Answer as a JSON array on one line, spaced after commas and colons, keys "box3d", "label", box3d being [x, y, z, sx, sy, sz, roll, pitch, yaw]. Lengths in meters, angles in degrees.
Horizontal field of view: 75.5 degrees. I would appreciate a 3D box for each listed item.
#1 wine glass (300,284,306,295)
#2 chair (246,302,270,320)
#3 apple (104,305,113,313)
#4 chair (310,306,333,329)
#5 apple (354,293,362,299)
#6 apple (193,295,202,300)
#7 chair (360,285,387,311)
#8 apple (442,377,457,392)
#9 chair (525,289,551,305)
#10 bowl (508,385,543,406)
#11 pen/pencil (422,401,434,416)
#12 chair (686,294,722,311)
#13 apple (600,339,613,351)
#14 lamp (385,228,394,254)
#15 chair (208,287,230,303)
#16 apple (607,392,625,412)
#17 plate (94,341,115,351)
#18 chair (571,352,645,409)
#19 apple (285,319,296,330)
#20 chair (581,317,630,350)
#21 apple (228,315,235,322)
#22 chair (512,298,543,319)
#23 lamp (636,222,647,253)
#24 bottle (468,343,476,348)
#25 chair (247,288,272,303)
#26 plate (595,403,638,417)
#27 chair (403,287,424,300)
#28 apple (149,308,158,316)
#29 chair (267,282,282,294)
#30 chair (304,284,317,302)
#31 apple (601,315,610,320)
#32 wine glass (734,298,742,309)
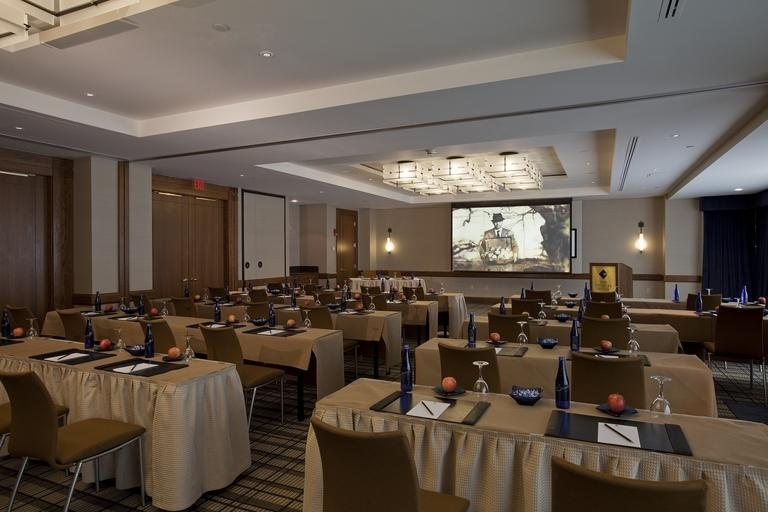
[{"box3d": [-1.906, 0.795, 11.635, 0.150, 0.246, 0.153, -6, -5, 44], "label": "wine glass"}, {"box3d": [-2.000, 0.856, 7.825, 0.279, 0.312, 0.281, 0, 4, -9], "label": "chair"}, {"box3d": [-4.387, 0.847, 7.895, 0.093, 0.118, 0.095, -18, -28, 10], "label": "apple"}, {"box3d": [-0.910, 0.873, 7.126, 0.267, 0.452, 0.323, 1, 2, 14], "label": "chair"}, {"box3d": [-0.570, 0.858, 10.565, 0.137, 0.078, 0.140, -1, 0, 31], "label": "apple"}, {"box3d": [-3.778, 0.832, 10.035, 0.128, 0.079, 0.130, 0, -4, 26], "label": "apple"}, {"box3d": [-0.191, 0.783, 9.188, 0.328, 0.585, 0.399, 3, 5, 37], "label": "chair"}, {"box3d": [0.565, 1.104, 4.294, 0.109, 0.108, 0.114, -4, 2, 16], "label": "apple"}, {"box3d": [2.797, 0.733, 9.032, 0.274, 0.405, 0.319, 1, 1, 39], "label": "chair"}, {"box3d": [1.174, 1.153, 4.097, 0.194, 0.072, 0.172, -1, 3, 16], "label": "bowl"}, {"box3d": [0.350, 1.232, 4.008, 0.029, 0.028, 0.271, -1, 6, -14], "label": "pen/pencil"}, {"box3d": [5.573, 0.802, 8.672, 0.488, 0.496, 0.566, 3, 0, 35], "label": "chair"}, {"box3d": [2.421, 0.973, 5.415, 0.123, 0.115, 0.125, 6, -22, -37], "label": "apple"}, {"box3d": [0.206, -0.559, 18.017, 0.366, 0.914, 0.090, -1, 0, 41], "label": "lamp"}, {"box3d": [-3.224, 0.768, 9.672, 0.257, 0.299, 0.223, -2, -3, 35], "label": "chair"}, {"box3d": [1.855, 1.155, 3.968, 0.134, 0.172, 0.135, -6, -4, 41], "label": "apple"}, {"box3d": [-3.090, 0.995, 5.476, 0.150, 0.080, 0.150, -1, -6, -22], "label": "plate"}, {"box3d": [2.111, 1.115, 4.754, 0.456, 0.672, 0.608, 0, -2, 31], "label": "chair"}, {"box3d": [-1.229, 0.906, 6.594, 0.103, 0.087, 0.137, -13, -2, 26], "label": "apple"}, {"box3d": [2.687, 0.894, 6.074, 0.391, 0.577, 0.467, 1, -2, 28], "label": "chair"}, {"box3d": [-2.129, 0.869, 6.901, 0.101, 0.081, 0.103, 0, 1, -1], "label": "apple"}, {"box3d": [2.222, 0.780, 7.753, 0.307, 0.453, 0.358, 3, 2, 40], "label": "chair"}, {"box3d": [7.640, -0.569, 14.795, 0.299, 1.013, 0.100, -1, 0, 22], "label": "lamp"}, {"box3d": [0.946, 0.959, 5.334, 0.059, 0.039, 0.061, -1, -4, 0], "label": "bottle"}, {"box3d": [-2.436, 0.773, 9.687, 0.336, 0.301, 0.326, -3, -2, 22], "label": "chair"}, {"box3d": [1.825, 1.224, 3.924, 0.164, 0.039, 0.166, 0, -2, -9], "label": "plate"}, {"box3d": [0.559, 0.755, 10.145, 0.254, 0.434, 0.307, 1, 2, 35], "label": "chair"}, {"box3d": [-3.467, 0.844, 7.453, 0.120, 0.148, 0.122, -1, -8, 35], "label": "apple"}, {"box3d": [-2.510, 0.733, 11.459, 0.280, 0.210, 0.246, -1, 2, -25], "label": "chair"}, {"box3d": [-1.662, 0.864, 11.687, 0.362, 0.454, 0.379, 2, 2, 10], "label": "chair"}, {"box3d": [2.918, 0.810, 6.576, 0.108, 0.061, 0.108, -2, 0, -17], "label": "apple"}, {"box3d": [5.924, 0.790, 8.328, 0.145, 0.147, 0.149, -1, -3, 22], "label": "wine glass"}]
